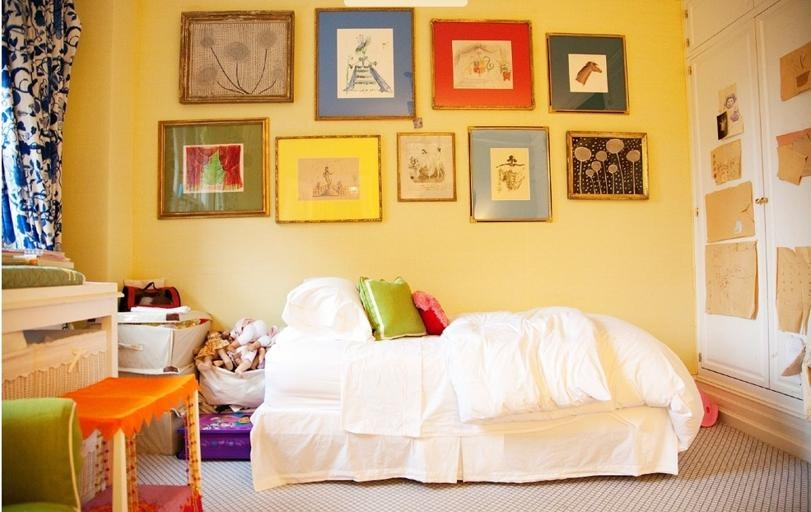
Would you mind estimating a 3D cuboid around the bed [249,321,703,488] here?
[{"bbox_3d":[0.416,0.895,4.815,2.483,0.817,1.551,-2,-3,-4],"label":"bed"}]

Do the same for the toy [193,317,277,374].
[{"bbox_3d":[-1.447,0.756,5.155,0.517,0.216,0.444,-1,28,10],"label":"toy"}]

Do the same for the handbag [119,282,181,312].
[{"bbox_3d":[-2.242,0.349,5.334,0.513,0.246,0.315,0,2,-24],"label":"handbag"}]
